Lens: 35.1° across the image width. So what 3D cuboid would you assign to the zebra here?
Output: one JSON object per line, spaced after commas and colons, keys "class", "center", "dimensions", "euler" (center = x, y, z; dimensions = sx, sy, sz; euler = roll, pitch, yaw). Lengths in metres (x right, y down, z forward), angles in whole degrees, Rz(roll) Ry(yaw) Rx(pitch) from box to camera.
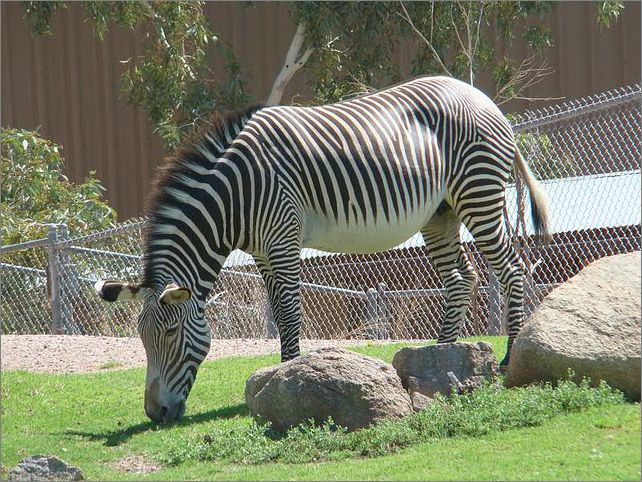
{"class": "zebra", "center": [0.367, 0.020, 12.514], "dimensions": [5.605, 3.723, 1.606], "euler": [-14, 12, -19]}
